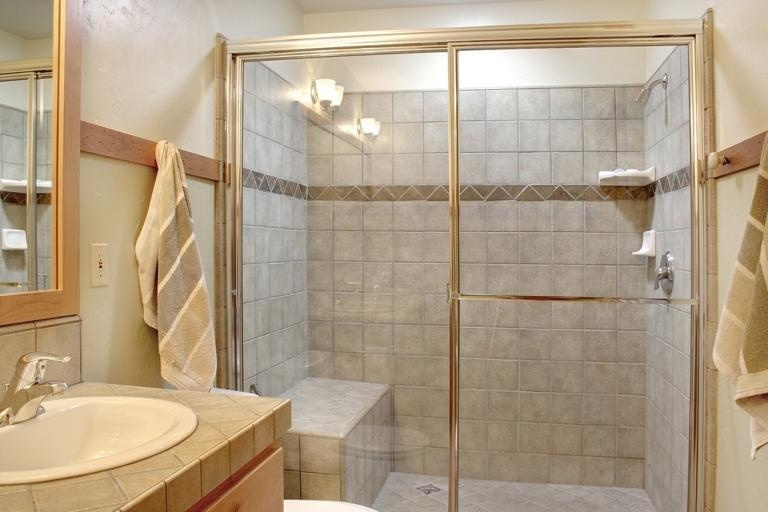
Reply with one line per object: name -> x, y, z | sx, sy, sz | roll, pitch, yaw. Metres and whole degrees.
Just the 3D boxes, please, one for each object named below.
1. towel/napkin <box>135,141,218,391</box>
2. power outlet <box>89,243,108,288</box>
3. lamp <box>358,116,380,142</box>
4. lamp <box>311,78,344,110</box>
towel/napkin -> -0.980, -0.010, 2.755 | 0.306, 1.305, 0.221 | -3, -22, -22
power outlet -> -1.180, 0.036, 2.446 | 0.015, 0.127, 0.073 | 1, 0, 23
lamp -> -0.075, -0.653, 3.044 | 0.116, 0.108, 0.098 | 0, 2, -13
lamp -> -0.293, -0.830, 3.023 | 0.149, 0.183, 0.187 | -1, 3, -10
